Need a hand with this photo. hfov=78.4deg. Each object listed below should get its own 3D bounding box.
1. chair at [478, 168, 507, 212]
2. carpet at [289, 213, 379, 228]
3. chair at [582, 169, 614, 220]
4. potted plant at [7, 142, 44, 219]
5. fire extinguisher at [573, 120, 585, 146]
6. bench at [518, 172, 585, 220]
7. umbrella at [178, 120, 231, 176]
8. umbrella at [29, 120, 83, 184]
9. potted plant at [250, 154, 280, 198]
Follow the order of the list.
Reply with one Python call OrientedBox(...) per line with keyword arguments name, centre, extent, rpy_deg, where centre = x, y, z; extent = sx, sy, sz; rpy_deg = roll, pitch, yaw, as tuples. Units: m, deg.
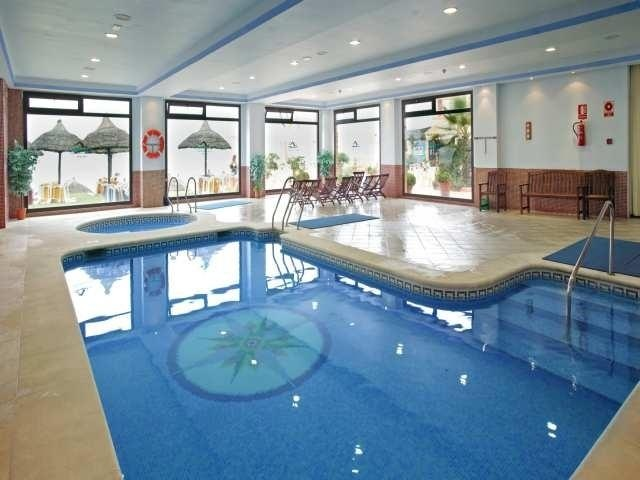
OrientedBox(name="chair", centre=(5.143, -1.473, 11.662), extent=(0.664, 1.191, 0.704), rpy_deg=(-9, 11, -27))
OrientedBox(name="carpet", centre=(0.347, -0.508, 10.034), extent=(2.329, 0.097, 1.178), rpy_deg=(-14, 20, -39))
OrientedBox(name="chair", centre=(6.930, -1.165, 9.724), extent=(0.702, 1.169, 0.725), rpy_deg=(-1, 10, 24))
OrientedBox(name="potted plant", centre=(-8.200, -1.617, 10.815), extent=(0.924, 1.967, 0.726), rpy_deg=(10, 18, 36))
OrientedBox(name="fire extinguisher", centre=(6.724, -2.777, 10.165), extent=(0.358, 0.675, 0.179), rpy_deg=(12, 19, 39))
OrientedBox(name="bench", centre=(6.184, -1.264, 10.502), extent=(0.956, 1.218, 1.791), rpy_deg=(-13, 19, -38))
OrientedBox(name="umbrella", centre=(-4.509, -3.509, 15.383), extent=(1.734, 2.344, 1.700), rpy_deg=(-2, 6, -19))
OrientedBox(name="umbrella", centre=(-8.260, -2.568, 12.550), extent=(1.369, 2.499, 1.370), rpy_deg=(-8, 23, -33))
OrientedBox(name="potted plant", centre=(-2.217, -2.577, 15.509), extent=(0.733, 1.641, 0.990), rpy_deg=(7, 17, 29))
